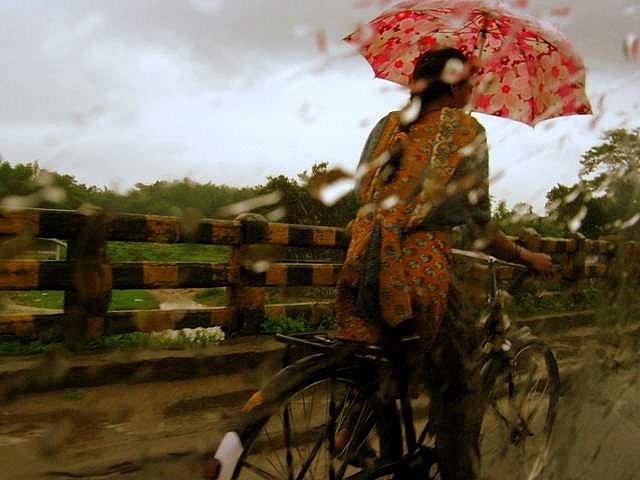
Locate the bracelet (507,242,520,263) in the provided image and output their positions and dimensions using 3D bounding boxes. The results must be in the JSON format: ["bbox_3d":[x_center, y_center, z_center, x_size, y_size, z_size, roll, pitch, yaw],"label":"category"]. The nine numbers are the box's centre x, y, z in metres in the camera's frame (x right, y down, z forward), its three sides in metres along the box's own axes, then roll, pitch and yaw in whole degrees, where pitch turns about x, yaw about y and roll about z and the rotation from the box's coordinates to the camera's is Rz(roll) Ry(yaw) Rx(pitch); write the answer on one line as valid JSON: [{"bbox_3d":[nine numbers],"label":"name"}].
[{"bbox_3d":[1.182,0.071,3.233,0.052,0.102,0.119,-11,-25,24],"label":"bracelet"}]

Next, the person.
[{"bbox_3d":[0.599,0.331,3.107,0.966,2.184,0.523,6,9,10],"label":"person"}]
